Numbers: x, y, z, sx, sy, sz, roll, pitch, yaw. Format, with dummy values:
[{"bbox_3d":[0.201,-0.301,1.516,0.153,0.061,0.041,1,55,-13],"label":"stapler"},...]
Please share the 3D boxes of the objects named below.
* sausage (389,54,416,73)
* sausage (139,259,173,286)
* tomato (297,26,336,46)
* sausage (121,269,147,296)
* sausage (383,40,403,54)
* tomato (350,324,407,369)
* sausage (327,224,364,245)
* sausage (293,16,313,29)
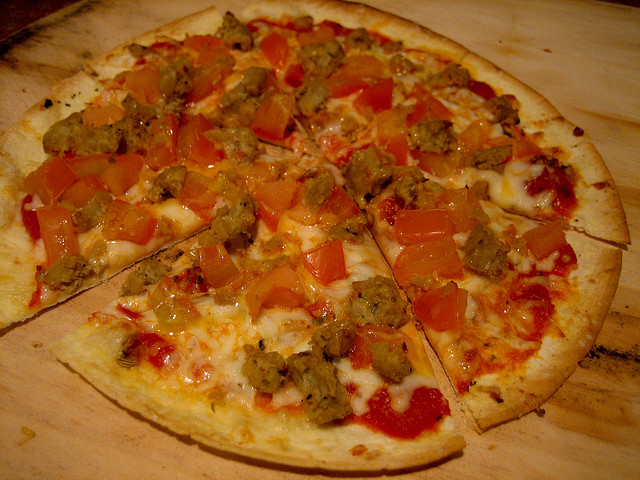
[{"bbox_3d":[0.734,-1.576,5.690,0.220,0.044,0.135,38,67,15],"label":"sausage"},{"bbox_3d":[-1.243,0.239,4.862,0.196,0.053,0.199,11,72,-16],"label":"sausage"},{"bbox_3d":[-0.039,-1.885,5.890,0.313,0.075,0.191,-2,53,3],"label":"tomato"},{"bbox_3d":[-1.422,0.350,4.839,0.207,0.081,0.156,-48,57,1],"label":"sausage"},{"bbox_3d":[0.661,-1.768,5.813,0.164,0.045,0.099,-4,82,8],"label":"sausage"},{"bbox_3d":[0.354,0.726,4.538,0.321,0.097,0.326,-7,60,9],"label":"tomato"},{"bbox_3d":[0.196,-0.029,4.872,0.192,0.050,0.156,27,83,-8],"label":"sausage"},{"bbox_3d":[-0.165,-2.027,5.954,0.146,0.036,0.116,24,73,17],"label":"sausage"}]
